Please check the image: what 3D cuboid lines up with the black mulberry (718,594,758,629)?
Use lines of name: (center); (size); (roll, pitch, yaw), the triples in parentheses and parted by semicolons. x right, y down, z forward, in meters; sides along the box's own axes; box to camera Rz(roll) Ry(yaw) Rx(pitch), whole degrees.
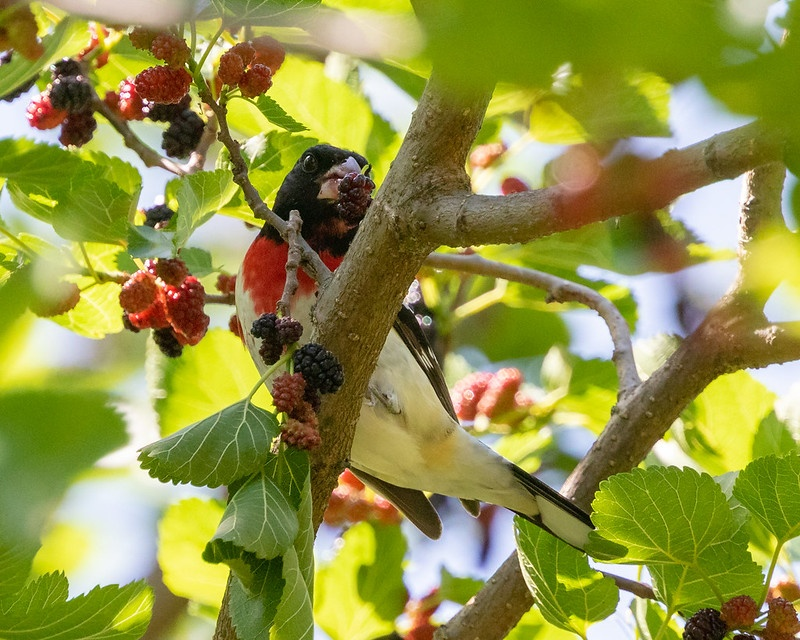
black mulberry: (0.587, 0.505, 1.788); (0.061, 0.028, 0.051); (-9, 66, 4)
